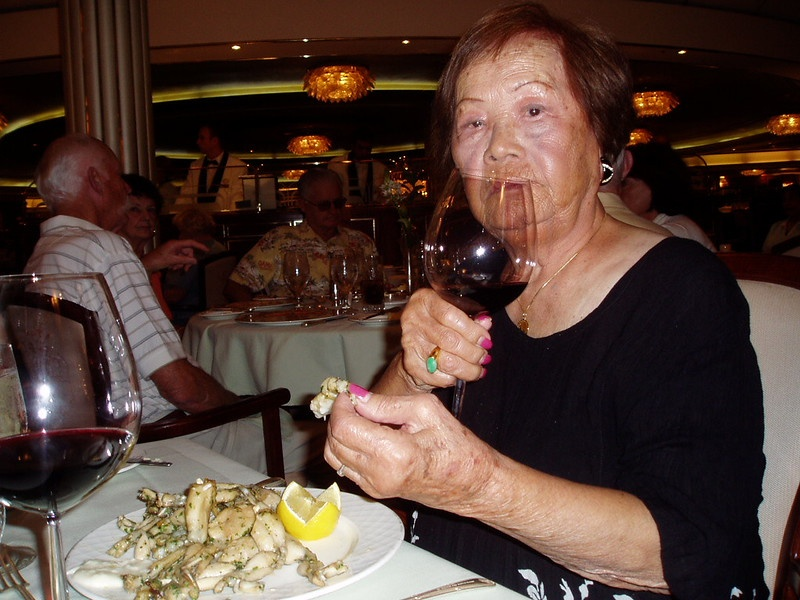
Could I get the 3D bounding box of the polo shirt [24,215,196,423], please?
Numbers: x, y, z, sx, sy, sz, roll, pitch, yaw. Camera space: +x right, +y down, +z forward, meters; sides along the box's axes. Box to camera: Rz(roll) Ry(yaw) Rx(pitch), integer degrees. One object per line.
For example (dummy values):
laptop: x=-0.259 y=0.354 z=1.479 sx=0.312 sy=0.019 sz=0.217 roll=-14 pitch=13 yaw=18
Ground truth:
polo shirt: x=-1.058 y=0.028 z=2.518 sx=0.405 sy=0.782 sz=0.877 roll=-24 pitch=23 yaw=-32

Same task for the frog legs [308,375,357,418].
frog legs: x=-0.108 y=0.142 z=0.986 sx=0.034 sy=0.070 sz=0.055 roll=41 pitch=5 yaw=-32

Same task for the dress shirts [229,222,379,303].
dress shirts: x=-0.633 y=-0.238 z=4.303 sx=1.010 sy=0.520 sz=0.323 roll=-1 pitch=15 yaw=-9

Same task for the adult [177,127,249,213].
adult: x=-2.378 y=-1.460 z=8.321 sx=0.909 sy=1.381 sz=0.789 roll=3 pitch=3 yaw=10

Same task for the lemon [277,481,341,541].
lemon: x=-0.132 y=0.298 z=0.977 sx=0.067 sy=0.047 sz=0.074 roll=5 pitch=21 yaw=-24

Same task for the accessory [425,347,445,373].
accessory: x=0.057 y=0.102 z=1.130 sx=0.025 sy=0.042 sz=0.010 roll=-11 pitch=-32 yaw=21

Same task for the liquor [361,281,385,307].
liquor: x=-0.129 y=-0.033 z=3.308 sx=0.116 sy=0.119 sz=0.105 roll=-6 pitch=12 yaw=-28
